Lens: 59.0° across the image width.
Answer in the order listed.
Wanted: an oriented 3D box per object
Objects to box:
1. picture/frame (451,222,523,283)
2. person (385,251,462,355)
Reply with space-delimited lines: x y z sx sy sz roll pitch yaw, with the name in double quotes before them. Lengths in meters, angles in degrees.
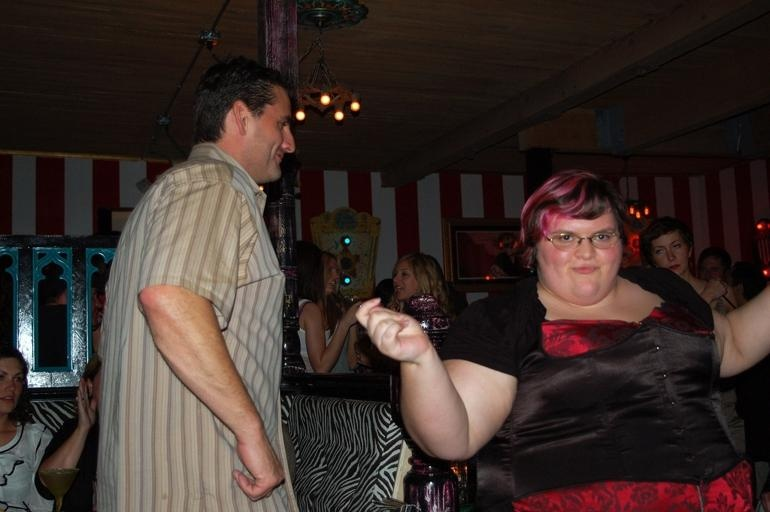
"picture/frame" 1.453 -0.001 9.509 1.150 0.963 0.078 -1 -5 -4
"person" 0.231 0.239 4.309 0.407 0.706 0.531 5 -19 0
